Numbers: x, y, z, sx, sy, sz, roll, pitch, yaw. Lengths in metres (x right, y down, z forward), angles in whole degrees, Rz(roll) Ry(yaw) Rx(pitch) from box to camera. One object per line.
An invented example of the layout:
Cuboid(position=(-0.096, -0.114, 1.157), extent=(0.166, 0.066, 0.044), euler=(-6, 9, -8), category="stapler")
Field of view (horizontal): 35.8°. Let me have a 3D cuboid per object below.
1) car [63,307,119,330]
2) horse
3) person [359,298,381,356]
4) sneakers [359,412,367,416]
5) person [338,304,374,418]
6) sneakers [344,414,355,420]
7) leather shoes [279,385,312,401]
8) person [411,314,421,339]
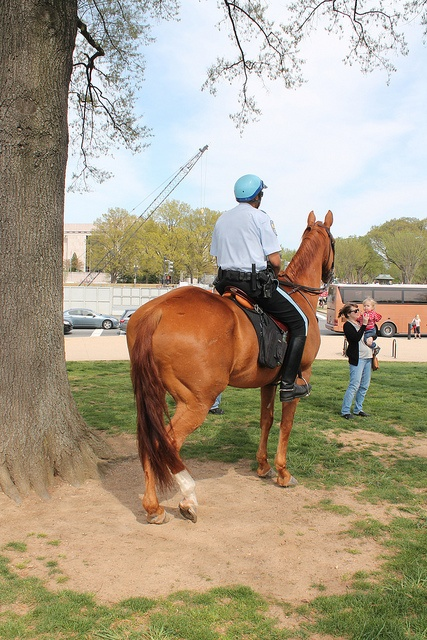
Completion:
Cuboid(position=(-6.153, -0.050, 33.136), extent=(2.591, 0.684, 1.099), euler=(-1, 5, -11), category="car")
Cuboid(position=(0.264, 0.262, 6.357), extent=(1.168, 2.769, 2.853), euler=(5, 7, 28), category="horse")
Cuboid(position=(2.387, 0.107, 10.086), extent=(0.398, 0.815, 0.352), euler=(1, -2, 3), category="person")
Cuboid(position=(2.290, 1.422, 10.017), extent=(0.146, 0.051, 0.047), euler=(6, 9, 30), category="sneakers")
Cuboid(position=(2.158, 0.617, 9.871), extent=(0.535, 1.675, 0.732), euler=(3, 6, 7), category="person")
Cuboid(position=(1.997, 1.422, 9.668), extent=(0.067, 0.063, 0.162), euler=(0, -5, 1), category="sneakers")
Cuboid(position=(0.778, 0.694, 6.420), extent=(0.133, 0.160, 0.404), euler=(6, 11, 42), category="leather shoes")
Cuboid(position=(9.490, 0.345, 30.716), extent=(0.346, 1.064, 1.112), euler=(4, 6, 16), category="person")
